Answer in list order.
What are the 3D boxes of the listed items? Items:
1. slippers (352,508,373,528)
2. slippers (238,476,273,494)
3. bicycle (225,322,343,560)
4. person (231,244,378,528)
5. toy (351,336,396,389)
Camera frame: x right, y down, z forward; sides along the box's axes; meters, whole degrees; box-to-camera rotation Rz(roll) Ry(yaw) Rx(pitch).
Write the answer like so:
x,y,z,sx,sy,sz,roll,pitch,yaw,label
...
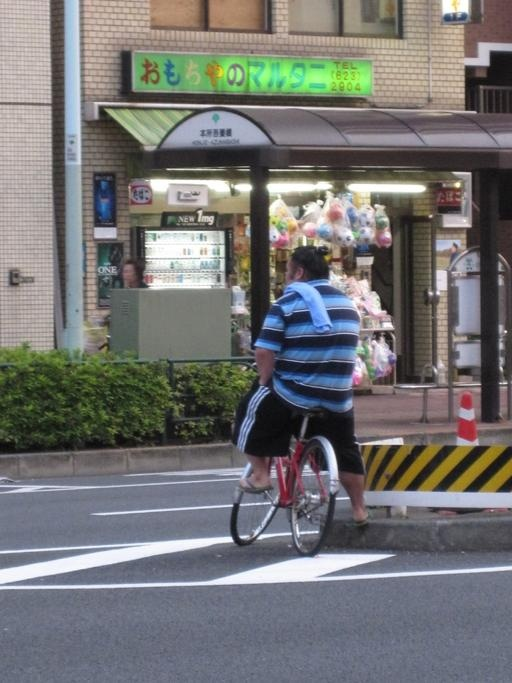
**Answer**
x,y,z,sx,sy,sz,roll,pitch,yaw,label
0.592,0.981,7.529,0.092,0.132,0.277,-2,-2,3,slippers
-0.006,0.782,7.470,0.134,0.059,0.085,5,-4,-6,slippers
0.140,0.714,7.260,0.426,0.769,1.166,1,-13,30,bicycle
0.244,0.248,7.297,0.725,1.541,0.497,0,1,5,person
1.399,0.220,16.088,0.301,0.661,0.572,-4,2,38,toy
